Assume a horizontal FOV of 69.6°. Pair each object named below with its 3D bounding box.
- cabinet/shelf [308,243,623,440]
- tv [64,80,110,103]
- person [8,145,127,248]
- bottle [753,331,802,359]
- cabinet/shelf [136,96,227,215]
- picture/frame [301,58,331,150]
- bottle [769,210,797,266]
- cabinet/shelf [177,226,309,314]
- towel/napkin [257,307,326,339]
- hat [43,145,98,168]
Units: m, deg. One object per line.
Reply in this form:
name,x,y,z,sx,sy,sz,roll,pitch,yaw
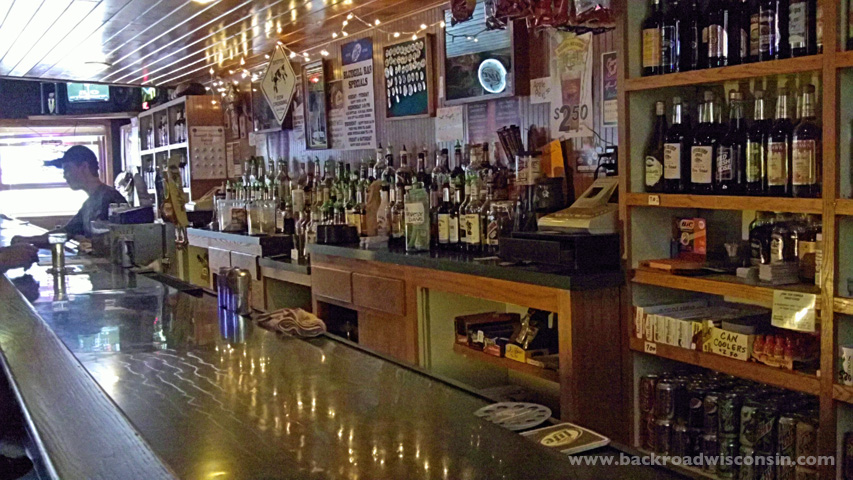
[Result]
cabinet/shelf,0.317,0.601,4.320,2.372,1.174,0.617,12,18,38
tv,-6.064,-2.621,11.026,0.674,0.310,0.324,4,15,14
person,-3.805,-0.491,6.711,0.873,1.007,1.709,-6,16,-26
bottle,1.813,0.555,3.200,0.151,0.091,0.149,-2,6,0
cabinet/shelf,-3.214,-1.125,8.171,0.639,1.814,2.114,-4,5,-36
picture/frame,-1.143,-1.399,6.389,0.161,0.905,0.570,-8,17,-31
bottle,1.946,0.007,3.356,0.124,0.211,0.163,6,15,18
cabinet/shelf,-1.729,0.210,6.096,0.417,0.663,2.302,-11,18,-39
towel/napkin,-0.727,0.410,3.189,0.186,0.104,0.425,-13,19,-43
hat,-4.021,-0.915,6.860,0.545,0.247,0.344,5,1,-20
